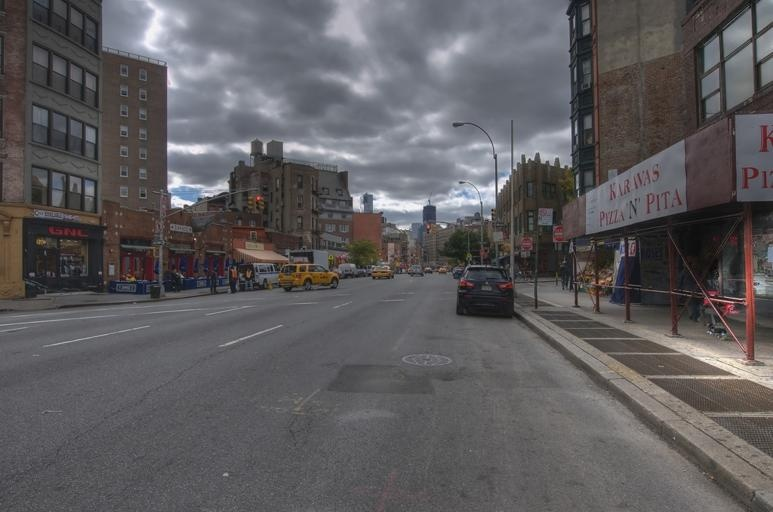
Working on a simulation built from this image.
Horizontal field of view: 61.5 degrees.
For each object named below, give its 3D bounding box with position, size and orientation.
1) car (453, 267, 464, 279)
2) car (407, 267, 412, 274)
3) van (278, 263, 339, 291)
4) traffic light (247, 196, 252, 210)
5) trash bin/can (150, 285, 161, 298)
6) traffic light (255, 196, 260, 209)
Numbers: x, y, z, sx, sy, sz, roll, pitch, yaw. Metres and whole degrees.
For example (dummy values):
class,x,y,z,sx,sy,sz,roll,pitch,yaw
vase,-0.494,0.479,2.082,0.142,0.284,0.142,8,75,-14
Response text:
class,x,y,z,sx,sy,sz,roll,pitch,yaw
car,6.961,1.550,62.515,1.251,1.213,2.445,-2,-9,3
car,3.881,2.627,111.253,1.186,0.666,2.069,-1,-5,0
van,-5.317,1.476,43.628,1.667,1.404,3.553,-1,2,38
traffic light,-7.918,-3.104,37.809,0.358,0.675,1.000,-1,2,-13
trash bin/can,-13.011,2.059,36.503,0.631,0.697,0.665,-2,-3,2
traffic light,-7.608,-3.166,38.497,0.404,0.629,0.176,-3,-11,7
